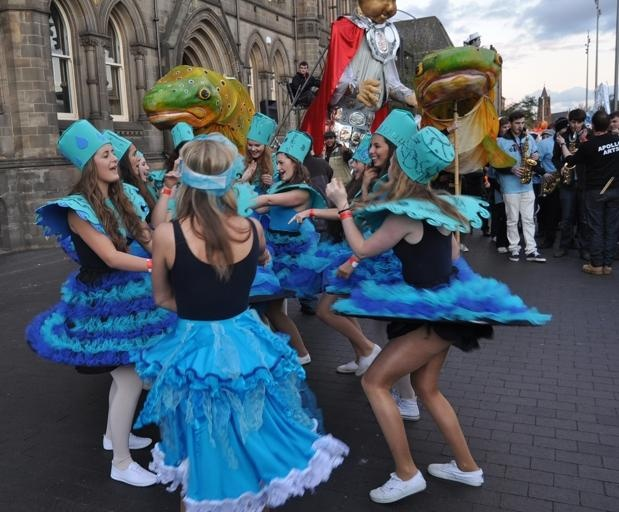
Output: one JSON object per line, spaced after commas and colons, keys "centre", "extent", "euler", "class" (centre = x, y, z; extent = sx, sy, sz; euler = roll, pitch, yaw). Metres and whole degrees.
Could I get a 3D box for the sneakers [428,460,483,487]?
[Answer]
{"centre": [0.816, 1.217, 2.809], "extent": [0.326, 0.114, 0.114], "euler": [5, -1, 24], "class": "sneakers"}
